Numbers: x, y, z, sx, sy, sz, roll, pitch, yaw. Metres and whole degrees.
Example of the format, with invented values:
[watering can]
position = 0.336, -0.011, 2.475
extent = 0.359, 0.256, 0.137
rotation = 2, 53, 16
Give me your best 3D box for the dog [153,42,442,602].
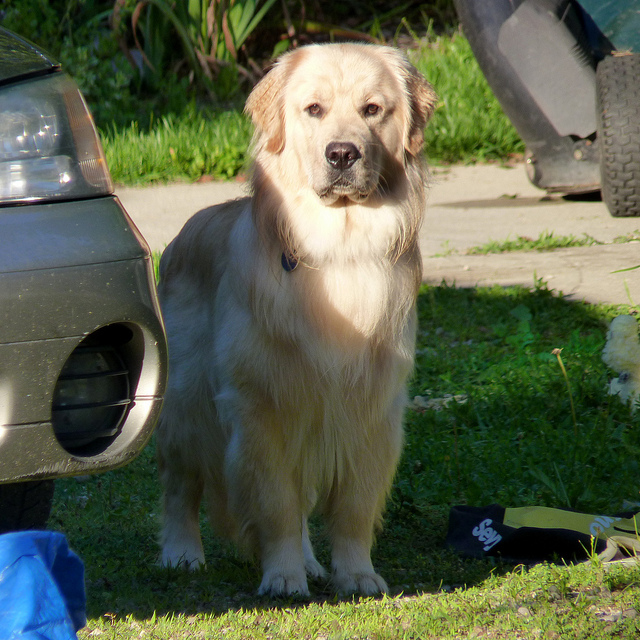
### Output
[dog]
position = -0.142, 0.051, 3.692
extent = 1.016, 2.140, 0.764
rotation = 4, 13, 10
